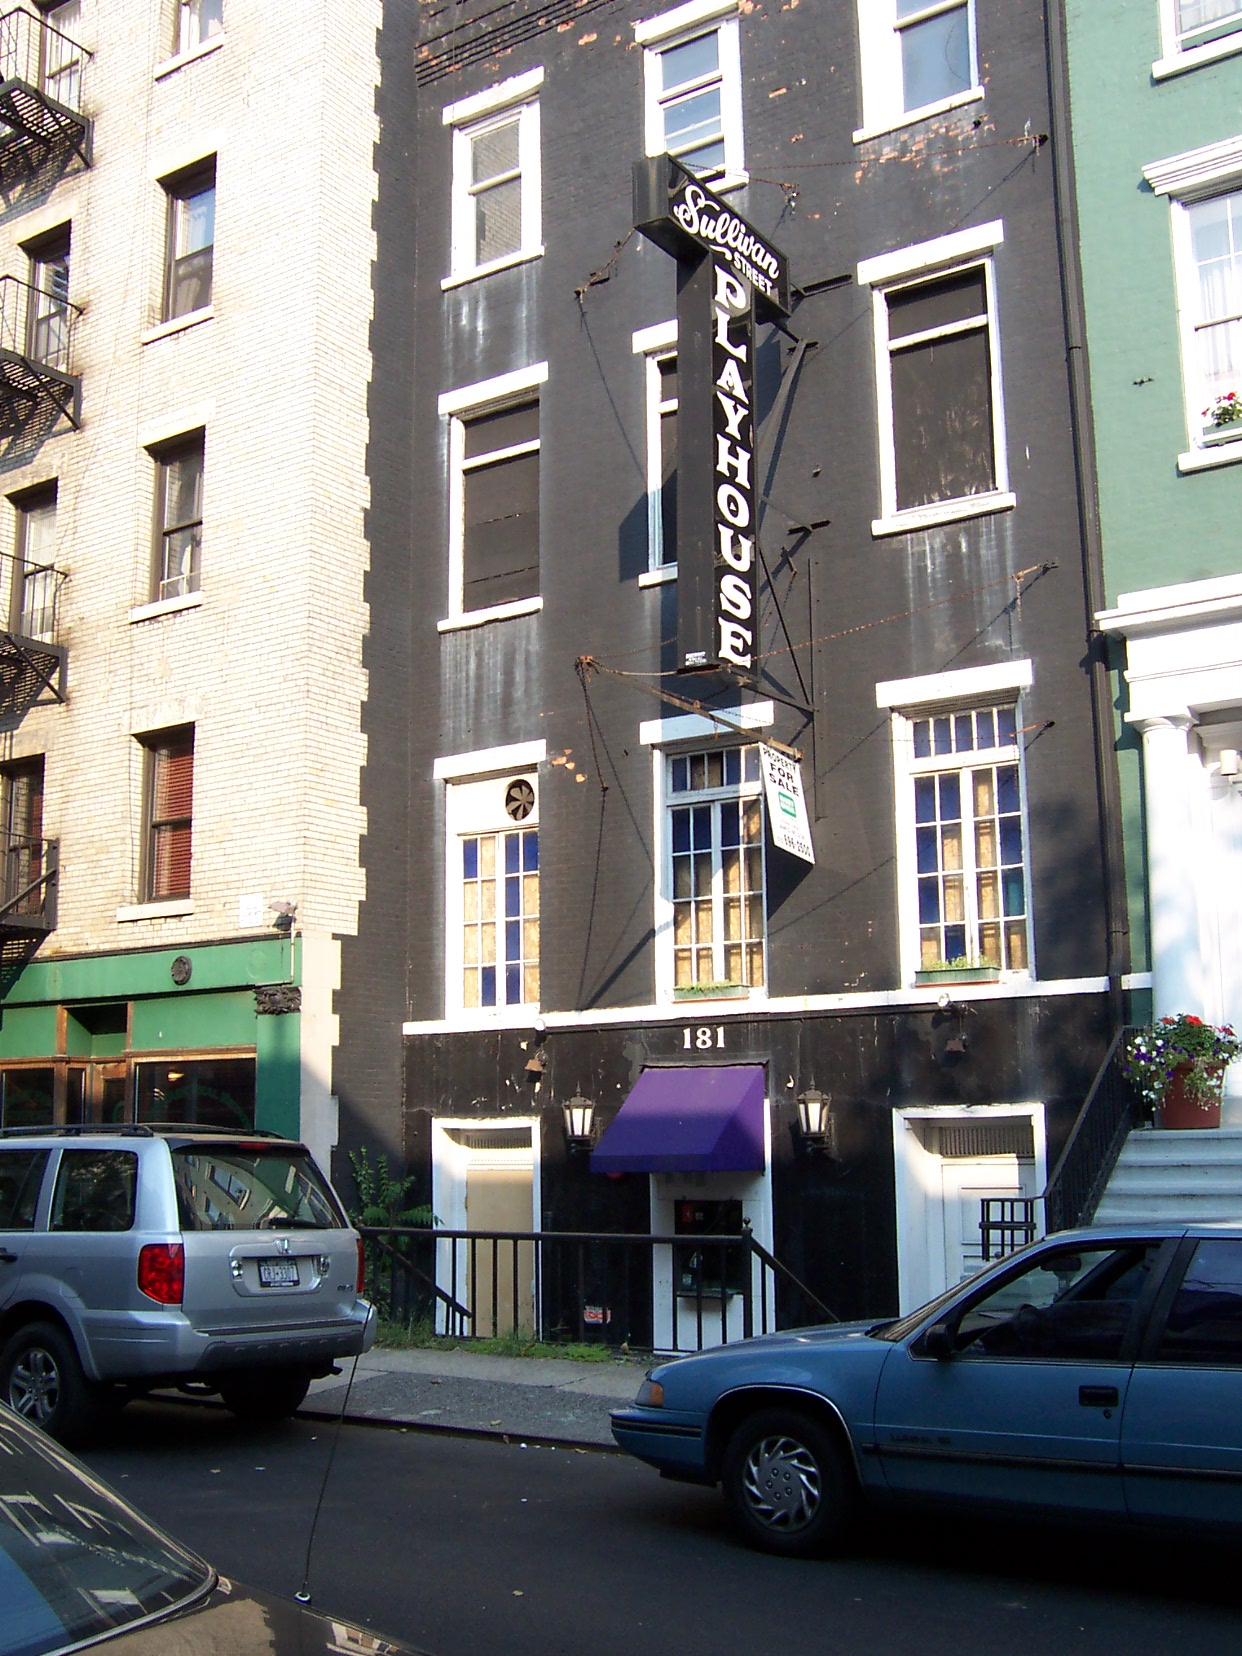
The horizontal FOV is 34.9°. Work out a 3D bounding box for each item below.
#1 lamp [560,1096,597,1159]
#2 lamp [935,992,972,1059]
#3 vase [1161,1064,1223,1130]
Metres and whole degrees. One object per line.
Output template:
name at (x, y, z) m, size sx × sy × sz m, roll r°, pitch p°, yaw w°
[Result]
lamp at (-0.344, 2.475, 16.222) m, size 0.409 × 0.613 × 0.394 m, roll -1°, pitch -3°, yaw -6°
lamp at (2.426, 1.496, 14.435) m, size 0.087 × 0.456 × 0.311 m, roll 4°, pitch -12°, yaw -42°
vase at (3.744, 1.779, 12.908) m, size 0.379 × 0.413 × 0.359 m, roll 0°, pitch -3°, yaw 5°
